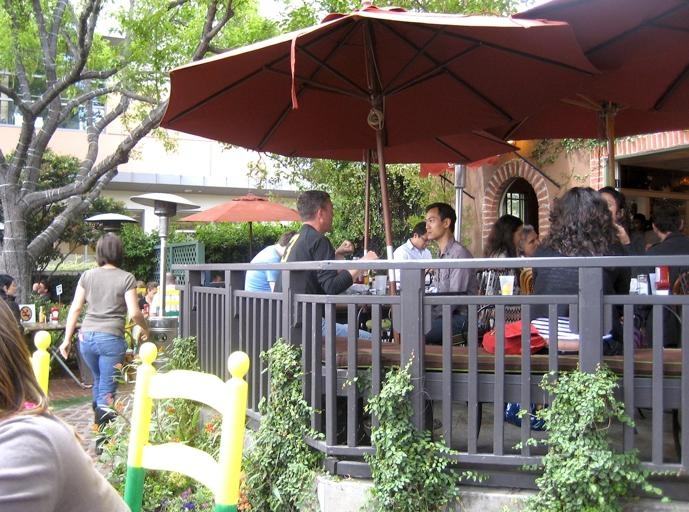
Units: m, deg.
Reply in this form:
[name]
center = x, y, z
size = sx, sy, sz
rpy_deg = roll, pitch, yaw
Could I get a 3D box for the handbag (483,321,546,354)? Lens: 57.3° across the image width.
[handbag]
center = 1.107, 0.471, 4.072
size = 0.273, 0.106, 0.229
rpy_deg = -15, 18, -17

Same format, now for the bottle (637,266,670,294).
[bottle]
center = 2.313, 0.187, 4.742
size = 0.252, 0.210, 0.161
rpy_deg = 4, -6, -15
